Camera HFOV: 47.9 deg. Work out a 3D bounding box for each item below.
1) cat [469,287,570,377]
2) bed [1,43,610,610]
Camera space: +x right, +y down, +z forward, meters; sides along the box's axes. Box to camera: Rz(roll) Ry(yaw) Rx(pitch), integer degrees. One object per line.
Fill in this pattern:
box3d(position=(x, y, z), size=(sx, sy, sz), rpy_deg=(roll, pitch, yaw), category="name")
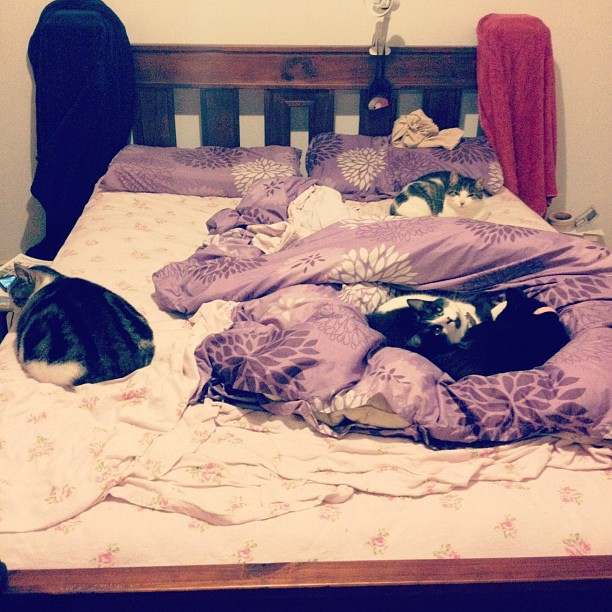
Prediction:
box3d(position=(0.527, 0.052, 1.652), size=(0.204, 0.157, 0.352), rpy_deg=(4, 10, 20), category="cat")
box3d(position=(0.039, 0.205, 2.353), size=(1.869, 0.768, 1.883), rpy_deg=(1, 46, 0), category="bed")
